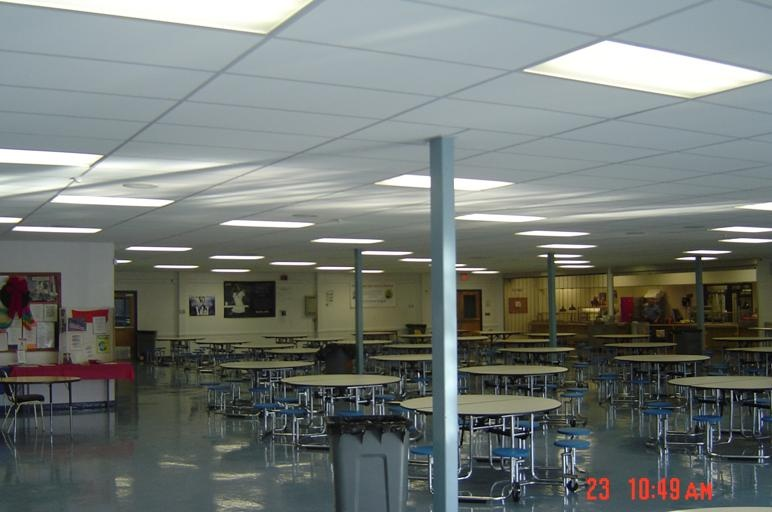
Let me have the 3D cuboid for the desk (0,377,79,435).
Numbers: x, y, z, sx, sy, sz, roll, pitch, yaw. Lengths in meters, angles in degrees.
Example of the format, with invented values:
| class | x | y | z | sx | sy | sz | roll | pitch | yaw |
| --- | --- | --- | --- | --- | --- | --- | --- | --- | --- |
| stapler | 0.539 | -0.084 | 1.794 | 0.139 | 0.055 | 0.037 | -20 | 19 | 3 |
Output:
| class | x | y | z | sx | sy | sz | roll | pitch | yaw |
| --- | --- | --- | --- | --- | --- | --- | --- | --- | --- |
| desk | -5.986 | 2.441 | 11.001 | 1.463 | 0.688 | 1.302 | 2 | -10 | -21 |

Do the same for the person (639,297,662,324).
| class | x | y | z | sx | sy | sz | roll | pitch | yaw |
| --- | --- | --- | --- | --- | --- | --- | --- | --- | --- |
| person | 9.701 | 2.015 | 23.418 | 0.372 | 0.928 | 0.831 | 7 | -12 | -37 |

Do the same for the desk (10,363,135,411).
| class | x | y | z | sx | sy | sz | roll | pitch | yaw |
| --- | --- | --- | --- | --- | --- | --- | --- | --- | --- |
| desk | -6.137 | 2.444 | 12.211 | 2.208 | 0.655 | 0.727 | 7 | -10 | -33 |
